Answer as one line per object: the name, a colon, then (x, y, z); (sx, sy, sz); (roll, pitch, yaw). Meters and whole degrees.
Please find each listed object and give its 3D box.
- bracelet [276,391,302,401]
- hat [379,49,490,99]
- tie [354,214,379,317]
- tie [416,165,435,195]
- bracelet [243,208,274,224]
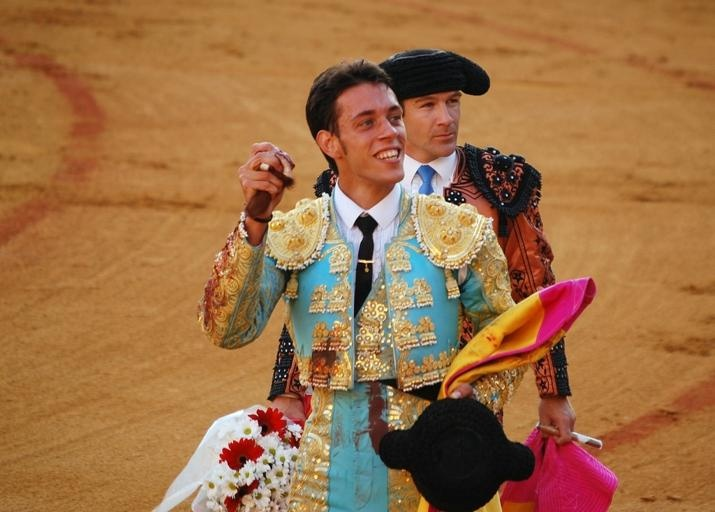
bracelet: (-0.455, 0.937, 8.574); (0.101, 0.039, 0.093); (-4, -1, 18)
hat: (0.530, -1.266, 9.014); (0.891, 0.355, 0.651); (3, 12, 19)
tie: (0.062, 0.051, 7.964); (0.118, 0.638, 0.133); (2, -6, 3)
tie: (0.470, -0.528, 8.791); (0.145, 0.225, 0.060); (11, -3, 4)
bracelet: (-0.607, -0.234, 7.750); (0.161, 0.085, 0.057); (0, 31, -5)
